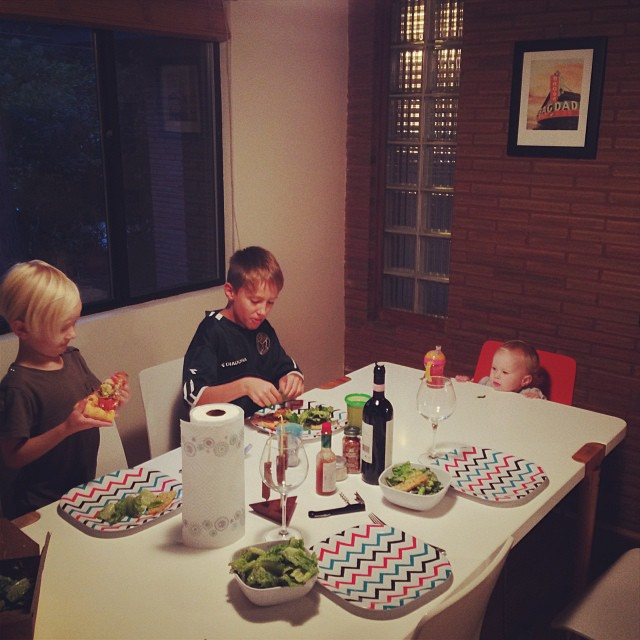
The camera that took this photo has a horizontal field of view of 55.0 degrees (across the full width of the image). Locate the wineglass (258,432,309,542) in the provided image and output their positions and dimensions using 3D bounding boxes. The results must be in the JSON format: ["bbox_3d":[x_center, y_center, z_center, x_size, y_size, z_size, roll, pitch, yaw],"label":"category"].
[{"bbox_3d":[-0.079,0.327,1.302,0.094,0.255,0.218,-2,15,-6],"label":"wineglass"}]

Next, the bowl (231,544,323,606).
[{"bbox_3d":[-0.084,0.454,1.109,0.149,0.057,0.160,2,12,0],"label":"bowl"}]

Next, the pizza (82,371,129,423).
[{"bbox_3d":[-0.590,0.213,1.686,0.076,0.061,0.221,18,13,-15],"label":"pizza"}]

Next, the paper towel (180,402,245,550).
[{"bbox_3d":[-0.218,0.323,1.255,0.132,0.298,0.118,2,15,8],"label":"paper towel"}]

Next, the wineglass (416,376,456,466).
[{"bbox_3d":[0.318,0.248,1.701,0.095,0.233,0.338,3,14,9],"label":"wineglass"}]
